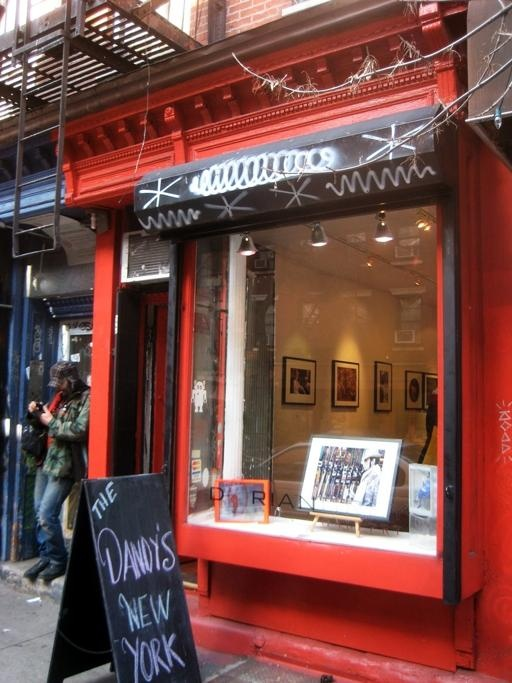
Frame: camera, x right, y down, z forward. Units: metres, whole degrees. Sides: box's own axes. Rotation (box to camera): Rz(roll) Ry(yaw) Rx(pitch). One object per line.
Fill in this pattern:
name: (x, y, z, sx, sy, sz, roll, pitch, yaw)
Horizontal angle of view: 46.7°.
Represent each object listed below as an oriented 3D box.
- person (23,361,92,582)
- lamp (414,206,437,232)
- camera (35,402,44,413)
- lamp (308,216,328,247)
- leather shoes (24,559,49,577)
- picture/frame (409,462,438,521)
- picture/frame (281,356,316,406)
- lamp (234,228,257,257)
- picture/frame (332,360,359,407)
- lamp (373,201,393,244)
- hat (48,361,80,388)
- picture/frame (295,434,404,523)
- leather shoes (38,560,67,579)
person: (-1.793, 1.141, 5.288, 0.463, 1.912, 1.070, 3, -5, -34)
lamp: (0.944, -0.688, 3.328, 0.062, 0.113, 0.139, -2, 11, -16)
camera: (-1.897, 0.574, 5.215, 0.066, 0.067, 0.110, 0, 6, -2)
lamp: (0.387, -0.683, 3.829, 0.120, 0.130, 0.123, -1, -4, 25)
leather shoes: (-1.889, 1.963, 5.172, 0.093, 0.121, 0.285, 24, -3, 5)
picture/frame: (0.939, 0.838, 3.337, 0.148, 0.249, 0.120, -11, -10, 38)
picture/frame: (0.290, 0.277, 4.044, 0.223, 0.349, 0.028, 7, -36, -2)
lamp: (-0.066, -0.674, 4.166, 0.107, 0.145, 0.129, -1, -2, -2)
picture/frame: (0.578, 0.284, 3.826, 0.160, 0.330, 0.032, 2, -36, 6)
lamp: (0.744, -0.689, 3.562, 0.131, 0.291, 0.136, -2, 3, -7)
hat: (-1.691, 0.288, 5.265, 0.172, 0.195, 0.277, -1, -3, 15)
picture/frame: (0.587, 0.847, 3.615, 0.566, 0.469, 0.022, -2, -24, 44)
leather shoes: (-1.738, 1.980, 5.091, 0.205, 0.146, 0.150, 2, -4, -21)
